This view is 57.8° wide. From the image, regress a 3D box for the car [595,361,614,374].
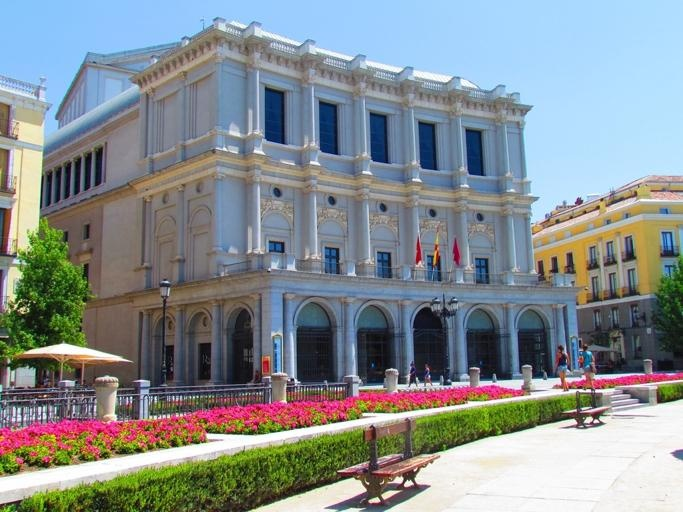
[{"bbox_3d":[28.441,11.905,66.488,1.728,1.203,4.196,-9,-15,24],"label":"car"}]
